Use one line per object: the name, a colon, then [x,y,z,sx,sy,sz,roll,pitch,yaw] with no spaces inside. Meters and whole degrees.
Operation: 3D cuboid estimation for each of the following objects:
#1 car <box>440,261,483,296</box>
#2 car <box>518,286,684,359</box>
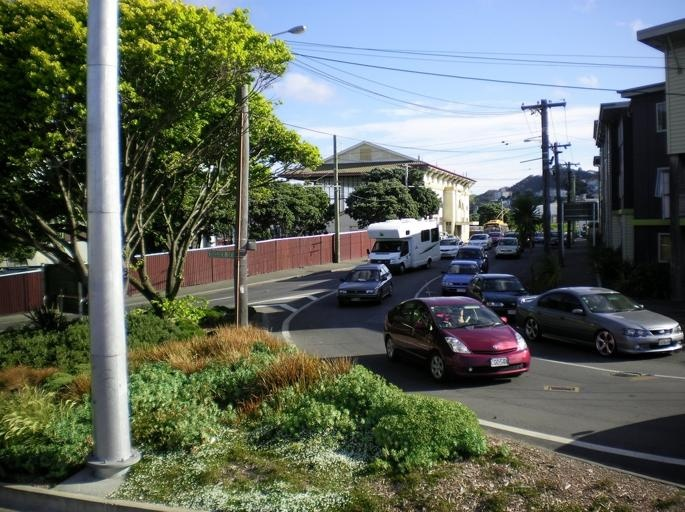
car: [4.985,0.886,27.957,1.346,1.169,3.358,-1,-1,9]
car: [6.646,1.661,17.889,1.755,1.325,3.804,-1,-2,-30]
